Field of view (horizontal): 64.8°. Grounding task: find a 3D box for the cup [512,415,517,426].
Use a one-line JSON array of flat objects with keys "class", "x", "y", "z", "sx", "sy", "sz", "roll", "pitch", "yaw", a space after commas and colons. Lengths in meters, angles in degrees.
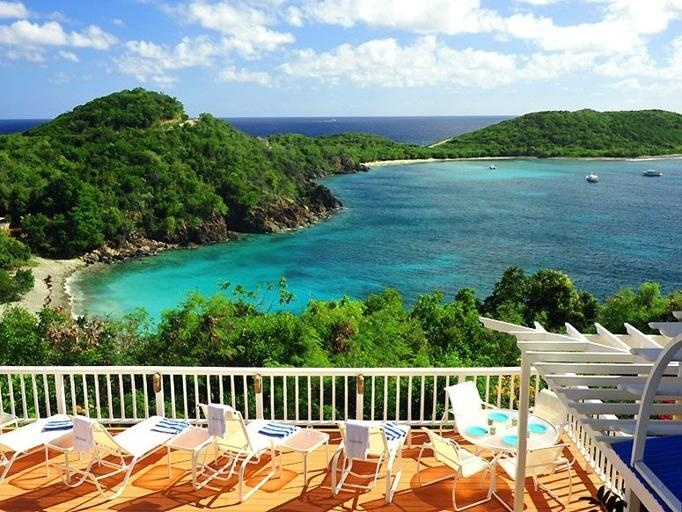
[{"class": "cup", "x": 2.444, "y": 2.275, "z": 7.490, "sx": 0.082, "sy": 0.095, "sz": 0.084, "roll": -3, "pitch": 15, "yaw": 1}]
